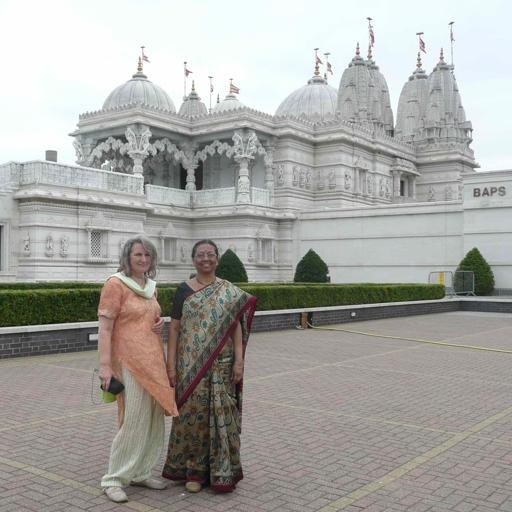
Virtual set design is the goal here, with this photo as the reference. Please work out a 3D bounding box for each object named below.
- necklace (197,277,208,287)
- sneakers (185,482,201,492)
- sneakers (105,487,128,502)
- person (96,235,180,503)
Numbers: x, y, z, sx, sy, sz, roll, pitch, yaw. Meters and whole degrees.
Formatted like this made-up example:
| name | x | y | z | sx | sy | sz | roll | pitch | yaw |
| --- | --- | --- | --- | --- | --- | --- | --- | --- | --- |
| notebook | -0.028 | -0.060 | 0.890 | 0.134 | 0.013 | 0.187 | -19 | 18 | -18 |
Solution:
| name | x | y | z | sx | sy | sz | roll | pitch | yaw |
| --- | --- | --- | --- | --- | --- | --- | --- | --- | --- |
| necklace | -0.395 | 0.203 | 5.298 | 0.074 | 0.071 | 0.066 | 0 | 1 | 24 |
| sneakers | -0.431 | 1.648 | 5.008 | 0.118 | 0.055 | 0.104 | 1 | 0 | -15 |
| sneakers | -0.939 | 1.636 | 4.794 | 0.068 | 0.065 | 0.156 | 7 | -13 | -43 |
| person | -0.858 | 0.773 | 5.018 | 0.521 | 1.454 | 0.467 | 1 | 0 | -23 |
